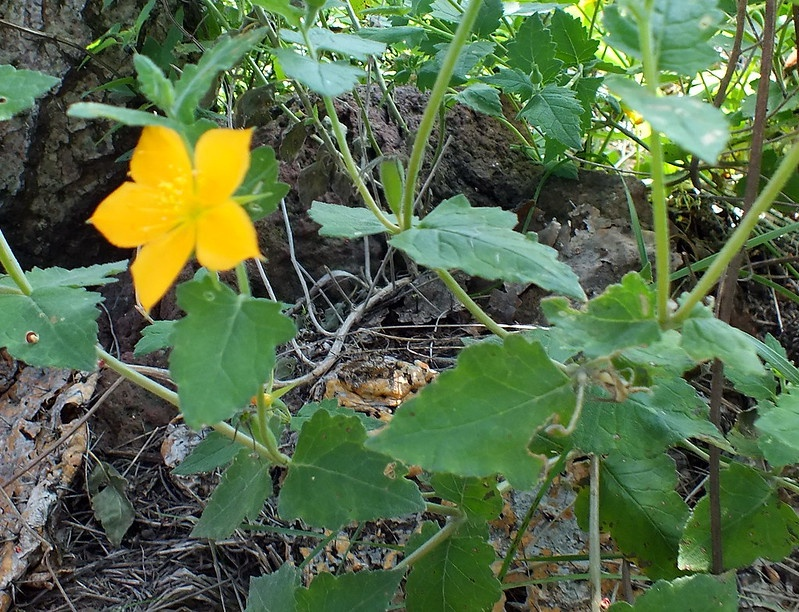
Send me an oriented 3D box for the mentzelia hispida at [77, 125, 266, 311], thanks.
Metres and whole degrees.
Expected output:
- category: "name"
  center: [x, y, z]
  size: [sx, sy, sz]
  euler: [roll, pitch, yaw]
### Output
- category: "mentzelia hispida"
  center: [-0.494, -0.210, 1.532]
  size: [0.150, 0.383, 0.426]
  euler: [23, 3, -23]
